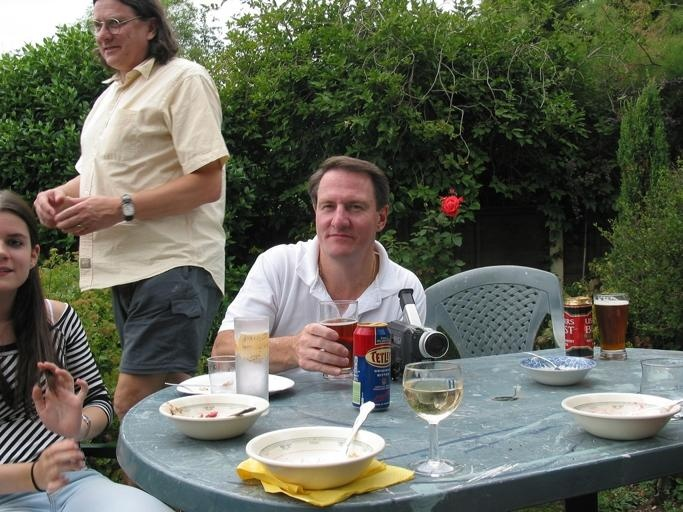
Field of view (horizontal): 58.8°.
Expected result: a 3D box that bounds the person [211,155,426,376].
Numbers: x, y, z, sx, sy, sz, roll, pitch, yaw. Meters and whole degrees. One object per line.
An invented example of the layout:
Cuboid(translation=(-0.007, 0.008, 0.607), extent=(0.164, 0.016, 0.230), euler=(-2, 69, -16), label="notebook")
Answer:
Cuboid(translation=(-0.082, 0.142, 2.656), extent=(0.783, 1.054, 0.748), euler=(3, 6, -18), label="person")

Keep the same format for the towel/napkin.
Cuboid(translation=(-0.054, 0.502, 1.507), extent=(0.320, 0.081, 0.323), euler=(-1, 0, -29), label="towel/napkin")

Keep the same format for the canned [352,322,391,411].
Cuboid(translation=(0.092, 0.321, 1.879), extent=(0.150, 0.270, 0.112), euler=(2, -3, -35), label="canned")

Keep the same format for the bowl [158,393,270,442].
Cuboid(translation=(-0.368, 0.462, 1.763), extent=(0.307, 0.067, 0.306), euler=(1, 0, 0), label="bowl")

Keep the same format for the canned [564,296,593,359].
Cuboid(translation=(0.917, 0.275, 2.373), extent=(0.111, 0.260, 0.099), euler=(0, 3, -1), label="canned")

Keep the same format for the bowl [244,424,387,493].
Cuboid(translation=(-0.053, 0.456, 1.511), extent=(0.258, 0.120, 0.289), euler=(-3, 0, -28), label="bowl")

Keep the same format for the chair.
Cuboid(translation=(0.840, 0.283, 3.233), extent=(0.710, 0.501, 0.510), euler=(4, 6, 27), label="chair")

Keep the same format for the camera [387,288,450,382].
Cuboid(translation=(0.255, 0.280, 2.221), extent=(0.163, 0.309, 0.342), euler=(-2, -2, -21), label="camera")

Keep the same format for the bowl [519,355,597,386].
Cuboid(translation=(0.770, 0.397, 2.153), extent=(0.284, 0.105, 0.193), euler=(-1, 3, -18), label="bowl")

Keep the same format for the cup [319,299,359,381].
Cuboid(translation=(-0.023, 0.291, 2.165), extent=(0.147, 0.284, 0.179), euler=(0, 5, -23), label="cup")

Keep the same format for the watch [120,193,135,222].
Cuboid(translation=(-0.947, -0.218, 2.689), extent=(0.071, 0.110, 0.102), euler=(0, 9, -10), label="watch")

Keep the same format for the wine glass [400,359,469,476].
Cuboid(translation=(0.226, 0.389, 1.569), extent=(0.129, 0.276, 0.169), euler=(6, 8, 43), label="wine glass")

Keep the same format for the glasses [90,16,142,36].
Cuboid(translation=(-1.056, -1.070, 2.793), extent=(0.223, 0.083, 0.085), euler=(0, 9, 6), label="glasses")

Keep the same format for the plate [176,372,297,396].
Cuboid(translation=(-0.372, 0.425, 2.113), extent=(0.429, 0.087, 0.221), euler=(4, -4, -15), label="plate")
